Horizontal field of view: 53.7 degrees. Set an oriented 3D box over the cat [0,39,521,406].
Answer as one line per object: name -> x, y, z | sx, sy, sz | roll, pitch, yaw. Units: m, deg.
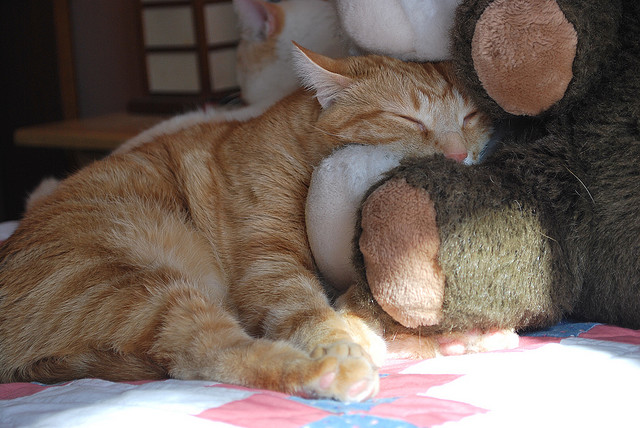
cat -> -0.131, 0.102, 1.426 | 0.980, 0.836, 0.469 | 0, 93, 23
